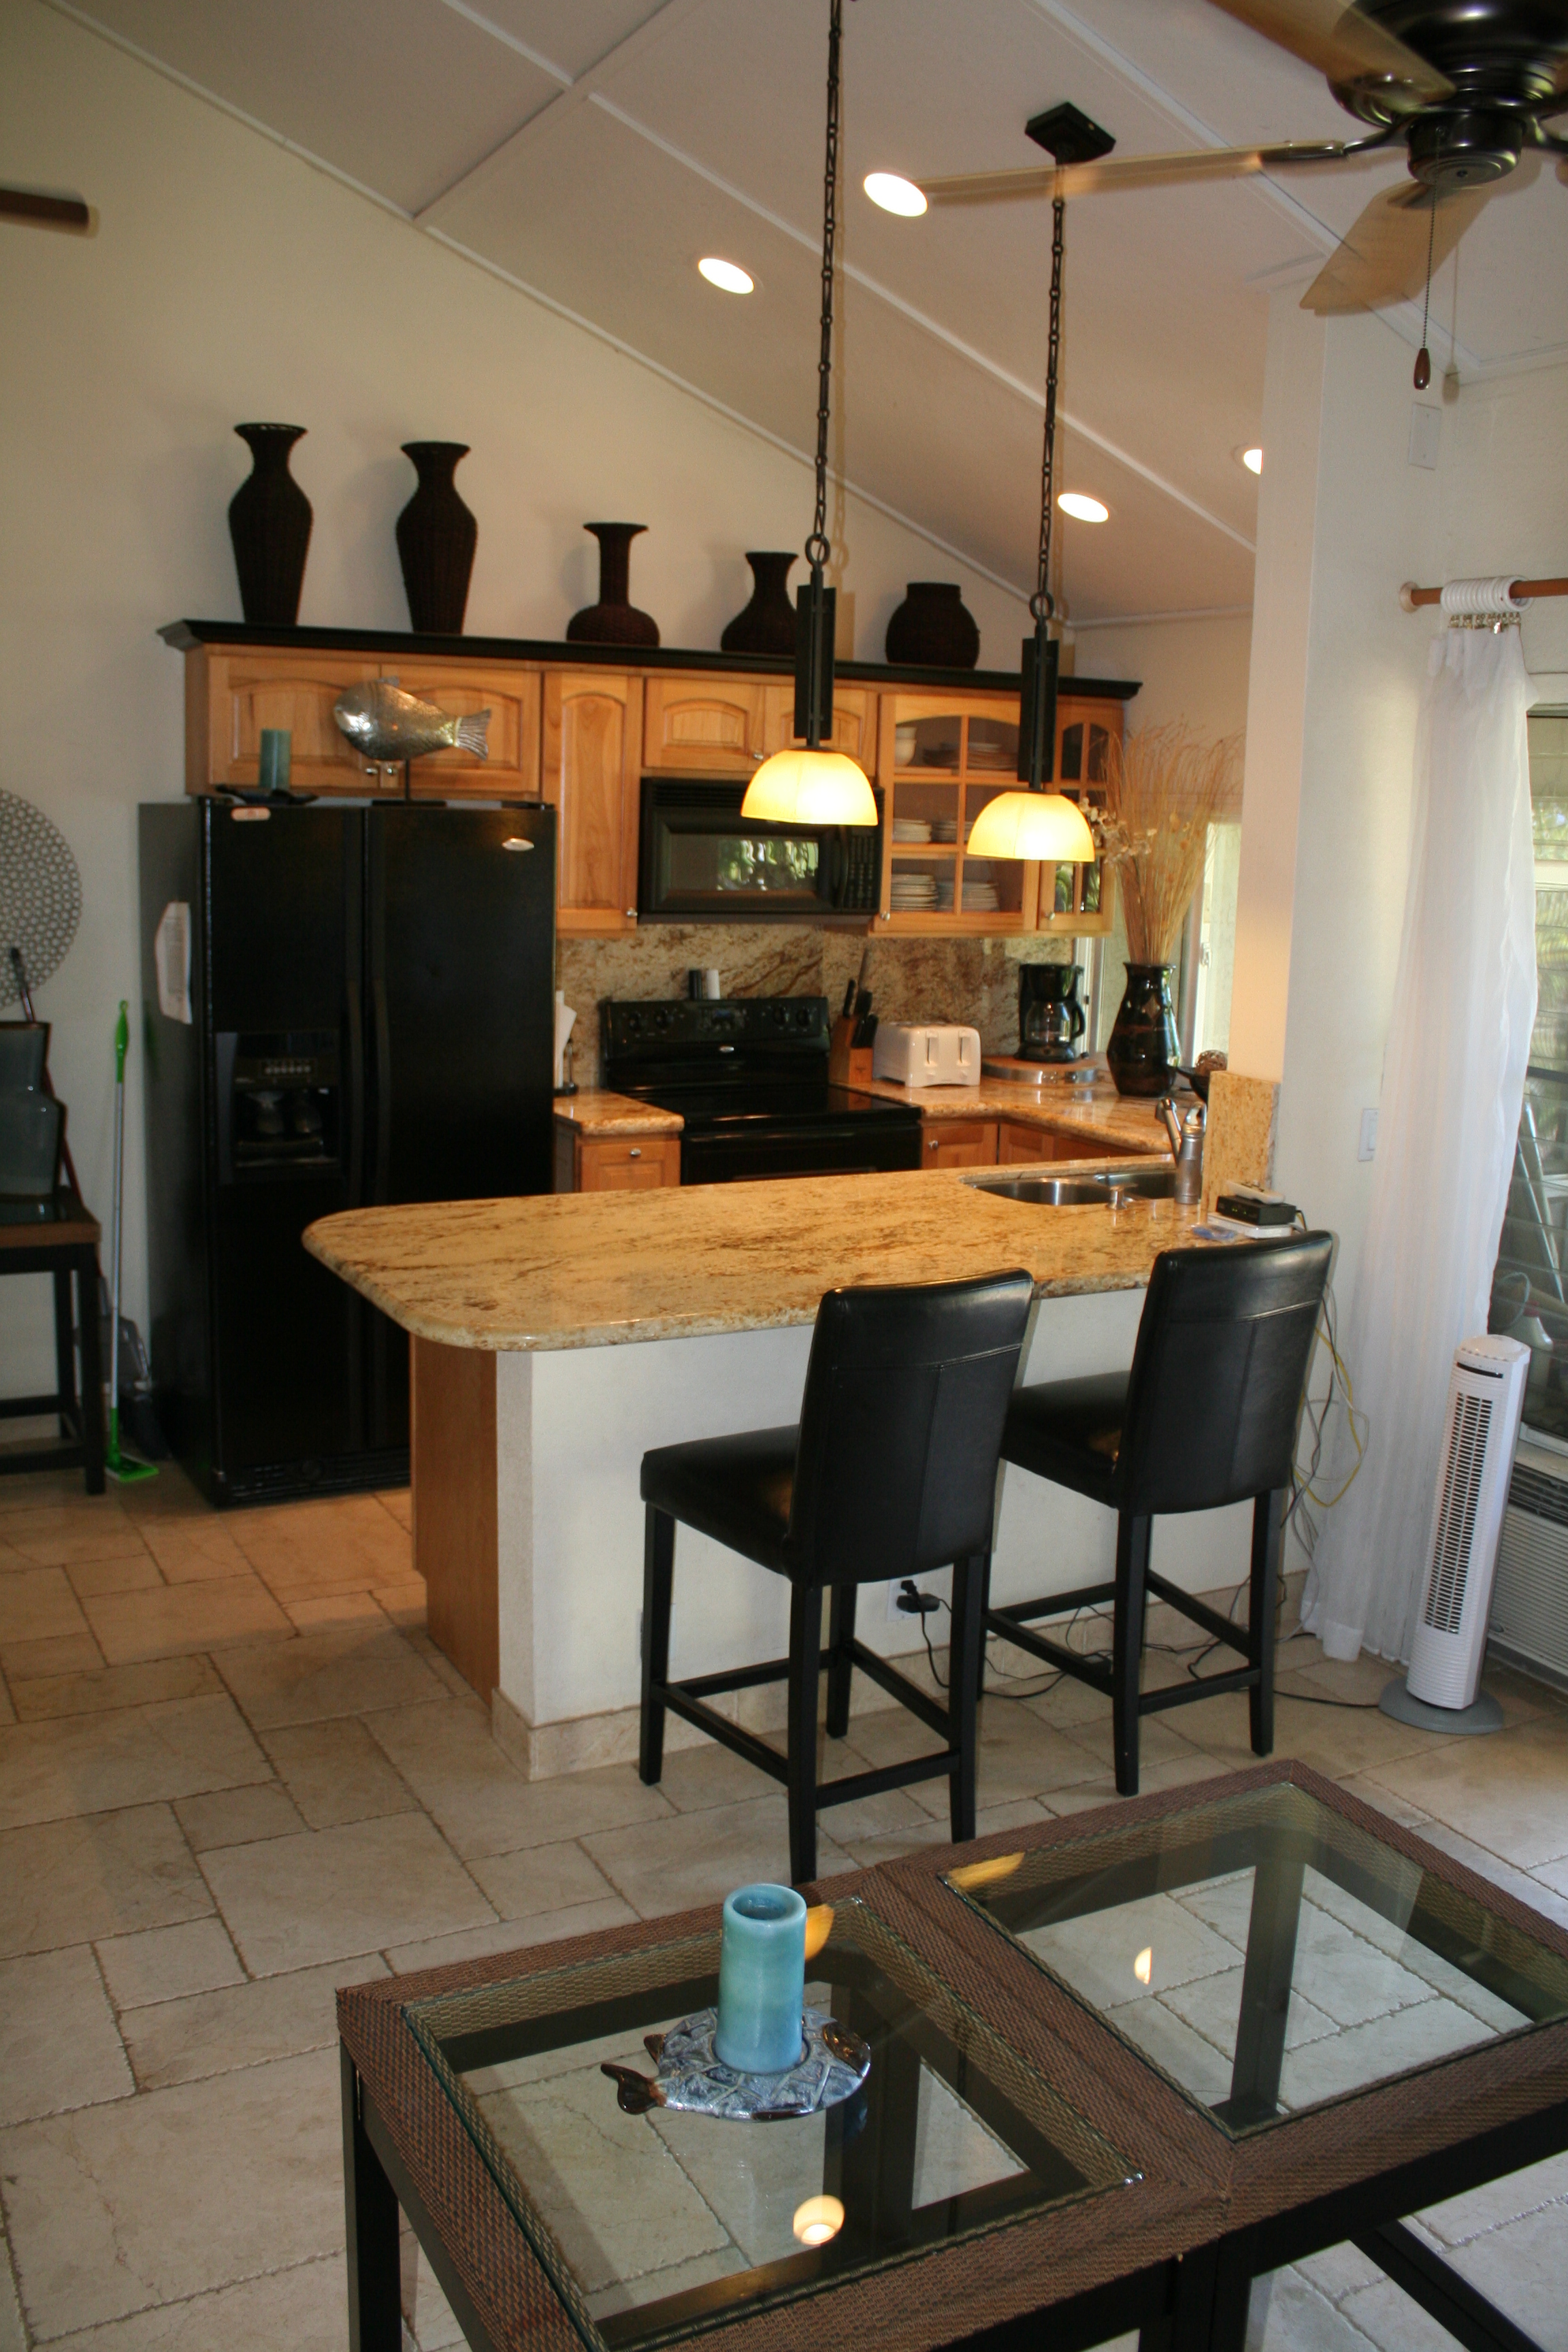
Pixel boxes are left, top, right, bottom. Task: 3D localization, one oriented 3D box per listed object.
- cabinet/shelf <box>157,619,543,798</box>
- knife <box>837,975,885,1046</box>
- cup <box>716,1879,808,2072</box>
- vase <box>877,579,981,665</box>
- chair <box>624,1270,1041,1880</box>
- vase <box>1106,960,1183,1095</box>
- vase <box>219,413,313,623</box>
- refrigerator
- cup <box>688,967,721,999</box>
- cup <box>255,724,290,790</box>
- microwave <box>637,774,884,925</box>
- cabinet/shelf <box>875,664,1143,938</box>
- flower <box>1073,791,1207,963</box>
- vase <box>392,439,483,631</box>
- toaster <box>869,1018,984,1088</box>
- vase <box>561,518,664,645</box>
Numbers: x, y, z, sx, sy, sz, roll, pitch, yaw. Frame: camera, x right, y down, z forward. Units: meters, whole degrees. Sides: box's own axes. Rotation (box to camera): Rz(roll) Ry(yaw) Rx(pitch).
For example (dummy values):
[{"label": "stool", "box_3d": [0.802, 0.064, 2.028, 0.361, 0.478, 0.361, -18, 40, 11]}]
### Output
[{"label": "cabinet/shelf", "box_3d": [-1.124, -1.295, 4.925, 1.136, 0.514, 0.343, -10, 39, -40]}, {"label": "knife", "box_3d": [0.247, -0.550, 6.041, 0.141, 0.232, 0.202, 4, 6, 2]}, {"label": "cup", "box_3d": [-0.020, 0.692, 1.540, 0.086, 0.143, 0.089, 2, 4, 0]}, {"label": "vase", "box_3d": [0.472, -1.735, 5.672, 0.292, 0.283, 0.293, -6, 16, -26]}, {"label": "chair", "box_3d": [0.079, 0.585, 2.870, 0.459, 0.936, 0.551, -3, 8, -40]}, {"label": "vase", "box_3d": [1.148, -0.464, 5.674, 0.216, 0.434, 0.279, 5, 6, 11]}, {"label": "vase", "box_3d": [-1.346, -1.695, 4.641, 0.199, 0.511, 0.146, 2, 6, -17]}, {"label": "refrigerator", "box_3d": [-1.029, 0.002, 4.825, 0.939, 1.665, 0.743, -3, -16, -7]}, {"label": "cup", "box_3d": [-0.254, -0.625, 5.776, 0.096, 0.111, 0.098, 3, 13, -1]}, {"label": "cup", "box_3d": [-1.301, -1.056, 4.536, 0.084, 0.171, 0.181, 2, 6, -17]}, {"label": "microwave", "box_3d": [-0.080, -0.974, 5.551, 0.769, 0.373, 0.292, 0, 4, -12]}, {"label": "cabinet/shelf", "box_3d": [0.676, -1.216, 5.922, 0.876, 0.854, 0.273, 0, 11, -10]}, {"label": "flower", "box_3d": [1.169, -0.961, 5.801, 0.256, 0.520, 0.518, 2, 6, -21]}, {"label": "vase", "box_3d": [-0.970, -1.752, 4.919, 0.206, 0.578, 0.369, 3, 6, -15]}, {"label": "toaster", "box_3d": [0.477, -0.396, 5.867, 0.339, 0.215, 0.243, 4, 6, -6]}, {"label": "vase", "box_3d": [-0.454, -1.719, 5.237, 0.372, 0.460, 0.356, 0, 13, -3]}]
